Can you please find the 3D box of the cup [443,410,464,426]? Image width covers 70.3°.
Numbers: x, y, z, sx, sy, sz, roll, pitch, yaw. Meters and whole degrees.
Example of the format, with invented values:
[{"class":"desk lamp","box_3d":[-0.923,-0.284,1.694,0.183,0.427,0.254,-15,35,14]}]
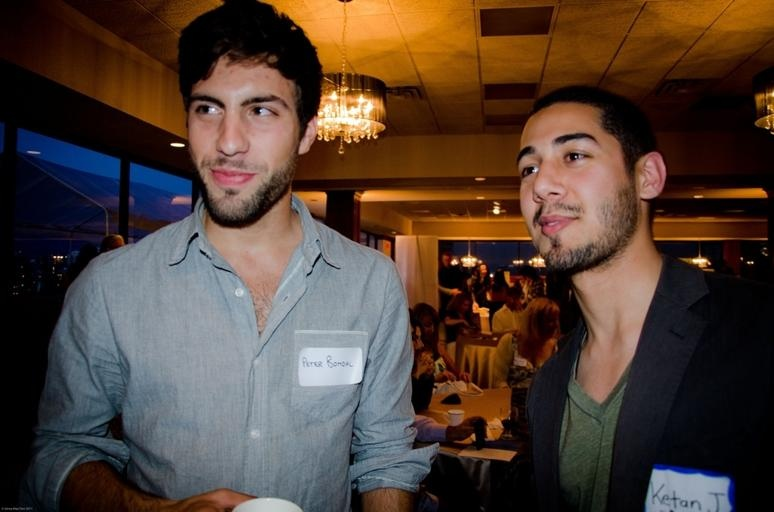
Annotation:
[{"class":"cup","box_3d":[0.488,1.188,4.040,0.137,0.098,0.093,-4,-3,30]}]
